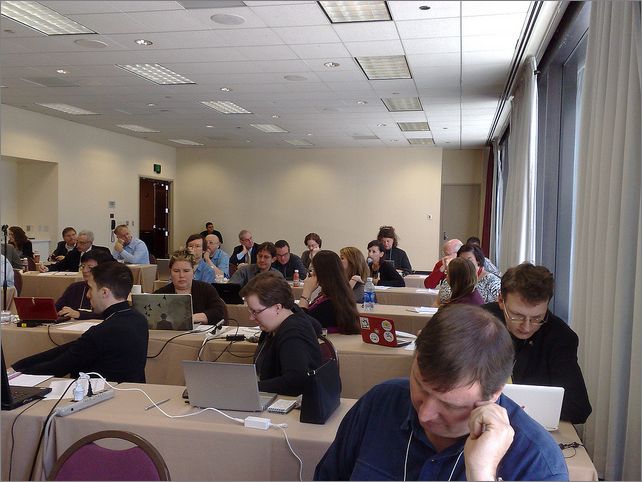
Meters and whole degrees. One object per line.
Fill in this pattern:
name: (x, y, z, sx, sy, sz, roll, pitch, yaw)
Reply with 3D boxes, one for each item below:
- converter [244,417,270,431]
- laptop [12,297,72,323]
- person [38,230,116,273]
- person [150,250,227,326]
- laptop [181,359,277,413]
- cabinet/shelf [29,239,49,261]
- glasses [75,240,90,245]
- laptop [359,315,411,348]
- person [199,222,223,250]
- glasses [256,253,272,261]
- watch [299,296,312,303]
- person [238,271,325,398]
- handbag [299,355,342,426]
converter: (-0.302, 0.854, 2.172, 0.077, 0.027, 0.054, 1, -1, 11)
laptop: (-2.465, 0.600, 4.021, 0.283, 0.264, 0.174, 5, 18, 6)
person: (-4.263, 0.164, 7.852, 0.812, 1.153, 0.410, -2, -9, 11)
person: (-1.185, 0.441, 4.509, 0.920, 0.819, 0.613, -1, -3, -12)
laptop: (-0.498, 0.729, 2.322, 0.368, 0.236, 0.283, 1, 9, 16)
cabinet/shelf: (-6.097, 0.185, 9.985, 0.291, 0.461, 0.483, 0, 1, 24)
glasses: (-3.953, 0.017, 7.599, 0.263, 0.107, 0.114, 4, 5, 27)
laptop: (0.453, 0.703, 3.598, 0.320, 0.207, 0.247, 3, 5, 37)
person: (-2.618, -0.158, 11.134, 0.864, 0.743, 0.461, -1, -1, -10)
glasses: (-0.721, 0.198, 5.865, 0.137, 0.154, 0.101, 0, 1, 1)
watch: (-0.126, 0.525, 4.153, 0.050, 0.020, 0.057, 22, -12, 28)
person: (-0.215, 0.535, 3.150, 0.603, 1.065, 0.727, 0, -1, -1)
handbag: (-0.006, 0.760, 2.325, 0.090, 0.186, 0.304, -5, -3, 16)
